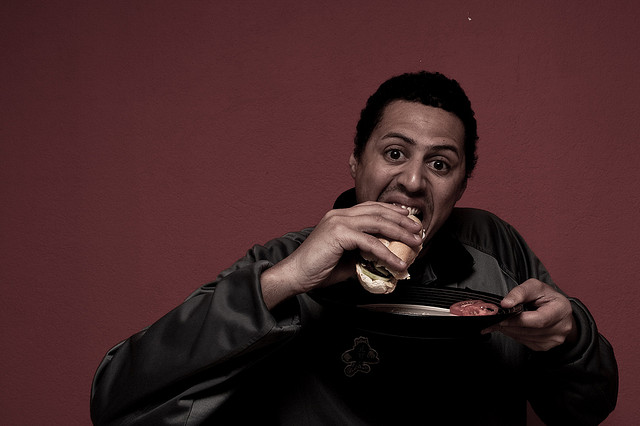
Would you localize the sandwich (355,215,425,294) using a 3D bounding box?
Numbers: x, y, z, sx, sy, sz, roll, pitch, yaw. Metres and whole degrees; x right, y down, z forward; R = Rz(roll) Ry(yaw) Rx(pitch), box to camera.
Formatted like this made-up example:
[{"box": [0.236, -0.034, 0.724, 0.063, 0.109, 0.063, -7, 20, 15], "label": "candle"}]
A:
[{"box": [0.381, 0.188, 3.014, 0.353, 0.465, 0.367, 5, -28, 3], "label": "sandwich"}]
